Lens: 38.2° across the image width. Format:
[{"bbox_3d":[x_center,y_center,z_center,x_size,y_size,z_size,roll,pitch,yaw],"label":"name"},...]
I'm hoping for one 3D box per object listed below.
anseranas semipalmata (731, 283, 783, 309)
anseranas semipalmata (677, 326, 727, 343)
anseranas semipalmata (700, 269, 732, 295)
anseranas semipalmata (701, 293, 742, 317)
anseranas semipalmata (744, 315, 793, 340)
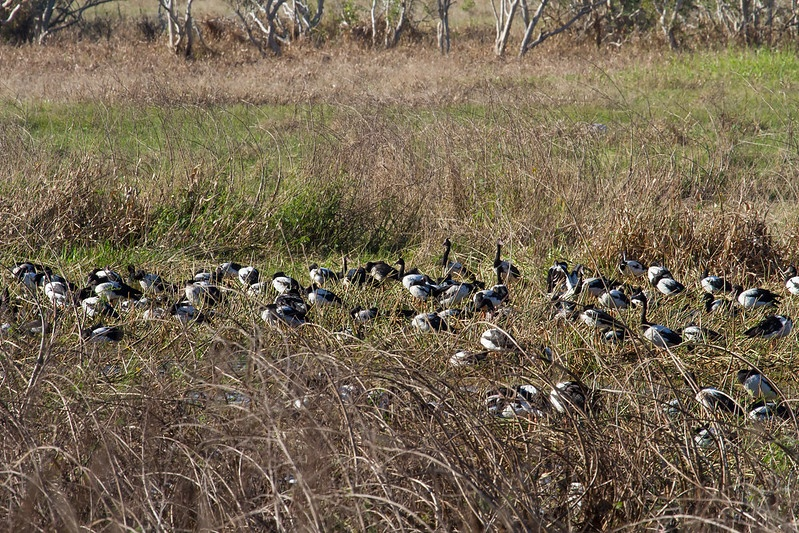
[{"bbox_3d":[3.837,0.318,12.408,0.489,0.188,0.430,9,21,17],"label":"anseranas semipalmata"},{"bbox_3d":[3.039,0.697,11.671,0.165,0.220,0.490,37,-22,-25],"label":"anseranas semipalmata"},{"bbox_3d":[3.460,0.152,12.596,0.364,0.273,0.205,8,7,40],"label":"anseranas semipalmata"},{"bbox_3d":[3.359,0.399,12.156,0.467,0.167,0.318,17,25,34],"label":"anseranas semipalmata"},{"bbox_3d":[3.760,0.587,11.717,0.550,0.253,0.200,-1,14,-14],"label":"anseranas semipalmata"}]
